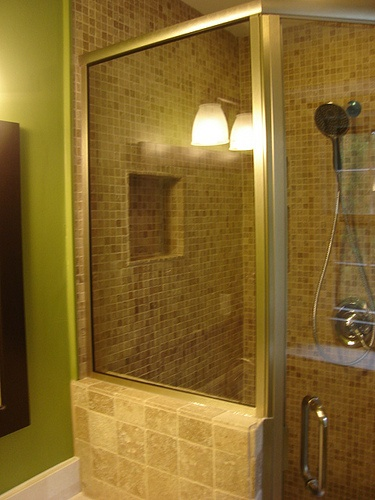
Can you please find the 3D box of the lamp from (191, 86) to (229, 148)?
[{"bbox_3d":[0.066,-0.365,1.209,0.120,0.176,0.129,-1,4,-2],"label":"lamp"}]
